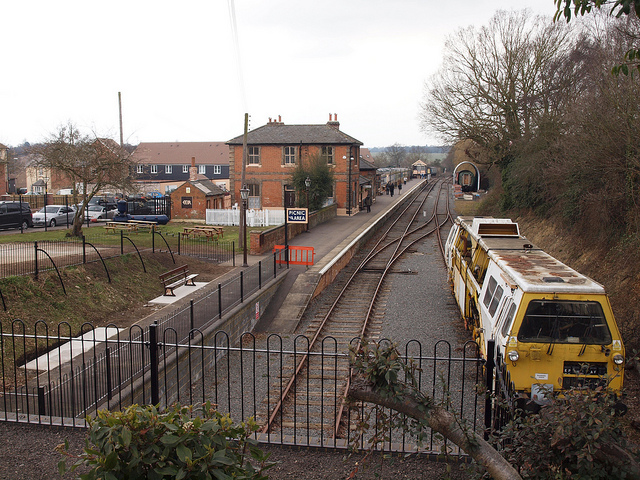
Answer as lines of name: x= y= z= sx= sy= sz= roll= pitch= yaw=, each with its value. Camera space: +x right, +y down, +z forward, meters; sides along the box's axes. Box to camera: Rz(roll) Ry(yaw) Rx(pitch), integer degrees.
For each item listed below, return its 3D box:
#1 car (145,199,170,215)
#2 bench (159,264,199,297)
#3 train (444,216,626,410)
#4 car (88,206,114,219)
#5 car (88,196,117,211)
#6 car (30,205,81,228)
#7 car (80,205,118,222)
car: x=-13.020 y=-2.656 z=49.567 sx=1.694 sy=1.501 sz=4.072 roll=-5 pitch=8 yaw=-11
bench: x=-5.150 y=1.498 z=22.648 sx=0.561 sy=0.829 sz=2.201 roll=-2 pitch=8 yaw=15
train: x=5.050 y=1.789 z=14.976 sx=2.301 sy=3.010 sz=8.986 roll=0 pitch=9 yaw=3
car: x=-15.512 y=-1.957 z=43.405 sx=0.878 sy=0.775 sz=1.602 roll=-1 pitch=1 yaw=0
car: x=-16.384 y=-2.765 z=46.409 sx=1.542 sy=1.359 sz=2.518 roll=-1 pitch=-2 yaw=-3
car: x=-16.484 y=-1.445 z=38.186 sx=1.255 sy=1.285 sz=3.142 roll=-2 pitch=8 yaw=10
car: x=-15.626 y=-1.963 z=43.147 sx=1.731 sy=1.470 sz=4.214 roll=-1 pitch=2 yaw=2
